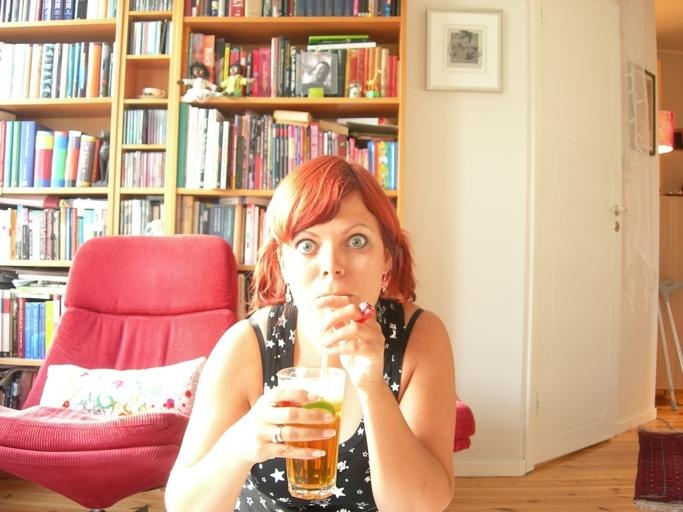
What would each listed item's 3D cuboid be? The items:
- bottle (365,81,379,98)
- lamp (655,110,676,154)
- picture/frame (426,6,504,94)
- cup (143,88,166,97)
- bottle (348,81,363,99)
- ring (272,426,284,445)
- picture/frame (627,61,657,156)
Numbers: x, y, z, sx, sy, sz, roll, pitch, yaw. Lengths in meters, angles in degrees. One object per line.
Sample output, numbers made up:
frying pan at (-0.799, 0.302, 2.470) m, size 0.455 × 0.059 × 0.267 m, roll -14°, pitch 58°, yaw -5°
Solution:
bottle at (0.164, -0.897, 3.537) m, size 0.072 × 0.131 × 0.094 m, roll 0°, pitch 2°, yaw 14°
lamp at (2.459, -0.930, 4.938) m, size 0.106 × 0.336 × 0.740 m, roll 3°, pitch 6°, yaw 27°
picture/frame at (0.677, -1.137, 3.641) m, size 0.460 × 0.479 × 0.018 m, roll 1°, pitch -3°, yaw -6°
cup at (-1.046, -0.898, 3.621) m, size 0.095 × 0.046 × 0.079 m, roll 3°, pitch 4°, yaw 11°
bottle at (0.071, -0.890, 3.515) m, size 0.078 × 0.095 × 0.082 m, roll 4°, pitch 5°, yaw 27°
ring at (-0.182, 0.506, 1.870) m, size 0.013 × 0.047 × 0.034 m, roll 5°, pitch 0°, yaw -4°
picture/frame at (2.045, -0.961, 4.469) m, size 0.577 × 0.620 × 0.028 m, roll -9°, pitch 10°, yaw -43°
